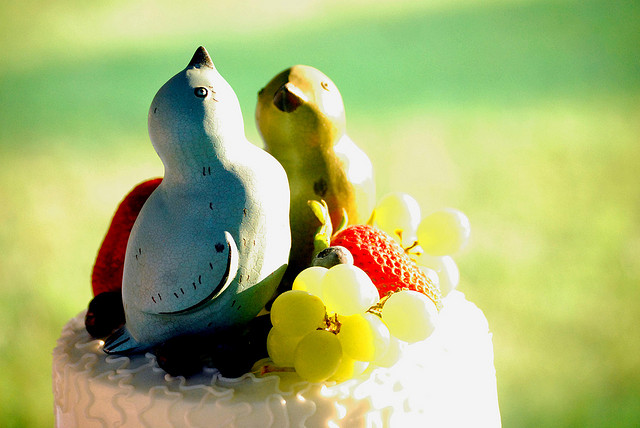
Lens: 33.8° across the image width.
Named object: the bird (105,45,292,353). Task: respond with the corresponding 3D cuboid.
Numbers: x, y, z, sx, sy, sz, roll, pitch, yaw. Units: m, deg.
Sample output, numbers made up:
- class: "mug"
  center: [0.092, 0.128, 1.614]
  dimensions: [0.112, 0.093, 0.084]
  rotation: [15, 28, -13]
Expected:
- class: "bird"
  center: [-0.473, -0.066, 3.742]
  dimensions: [0.685, 1.055, 0.716]
  rotation: [-7, 16, -3]
